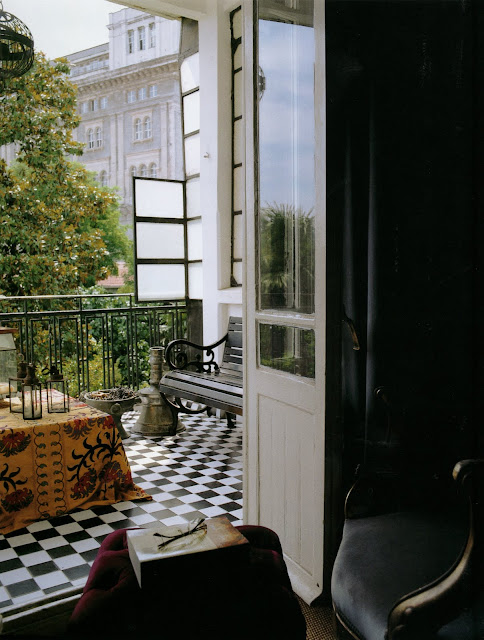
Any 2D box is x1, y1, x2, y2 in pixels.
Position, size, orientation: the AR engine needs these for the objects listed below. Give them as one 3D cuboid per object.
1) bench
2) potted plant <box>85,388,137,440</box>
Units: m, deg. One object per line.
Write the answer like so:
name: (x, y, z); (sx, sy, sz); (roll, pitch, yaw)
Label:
bench: (-0.311, 0.436, 4.635); (0.607, 0.909, 2.153); (3, 4, -1)
potted plant: (-0.863, 0.668, 4.059); (0.304, 0.295, 0.350); (-2, 7, 3)
